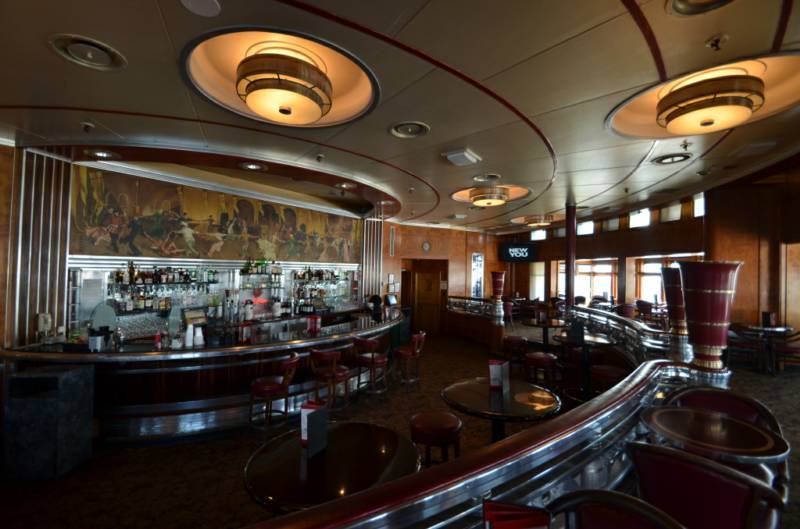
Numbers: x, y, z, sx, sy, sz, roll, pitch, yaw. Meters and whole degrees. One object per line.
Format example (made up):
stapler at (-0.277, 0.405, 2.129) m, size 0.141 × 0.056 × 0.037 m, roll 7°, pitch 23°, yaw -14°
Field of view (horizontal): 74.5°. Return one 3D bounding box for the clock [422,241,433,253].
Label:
clock at (0.821, -0.587, 16.414) m, size 0.331 × 0.315 × 0.075 m, roll 14°, pitch -9°, yaw -34°

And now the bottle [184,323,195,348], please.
bottle at (-3.260, 1.094, 8.133) m, size 0.113 × 0.340 × 0.148 m, roll -2°, pitch -2°, yaw 11°

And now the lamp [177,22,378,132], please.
lamp at (-1.622, -2.404, 7.105) m, size 1.420 × 0.463 × 1.388 m, roll -1°, pitch -4°, yaw 9°
